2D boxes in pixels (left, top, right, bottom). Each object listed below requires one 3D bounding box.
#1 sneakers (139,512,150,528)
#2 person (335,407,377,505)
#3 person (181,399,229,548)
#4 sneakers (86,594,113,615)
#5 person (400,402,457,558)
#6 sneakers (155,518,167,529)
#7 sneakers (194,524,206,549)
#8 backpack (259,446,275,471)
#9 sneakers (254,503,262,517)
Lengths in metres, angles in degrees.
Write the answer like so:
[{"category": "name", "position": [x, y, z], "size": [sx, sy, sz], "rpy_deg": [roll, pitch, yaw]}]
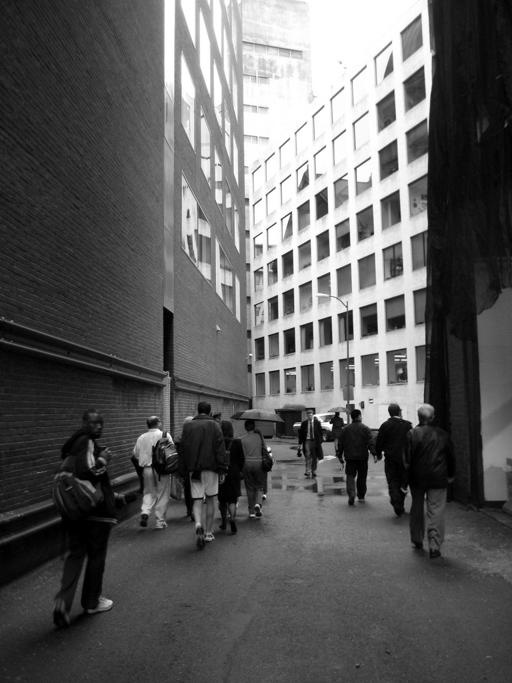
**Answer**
[{"category": "sneakers", "position": [-1.814, 2.948, 8.584], "size": [0.094, 0.204, 0.386], "rpy_deg": [3, -20, 2]}, {"category": "person", "position": [2.135, 2.431, 11.206], "size": [0.513, 2.168, 0.536], "rpy_deg": [-3, 10, 2]}, {"category": "person", "position": [-0.726, 1.818, 7.249], "size": [0.594, 1.926, 0.655], "rpy_deg": [4, -8, -36]}, {"category": "sneakers", "position": [-1.216, 2.079, 4.129], "size": [0.164, 0.165, 0.086], "rpy_deg": [-2, 10, -32]}, {"category": "person", "position": [2.084, 1.697, 6.496], "size": [0.787, 1.786, 0.639], "rpy_deg": [5, -9, -42]}, {"category": "sneakers", "position": [-1.555, 3.031, 8.707], "size": [0.082, 0.183, 0.324], "rpy_deg": [2, 1, 4]}, {"category": "sneakers", "position": [-0.703, 2.514, 6.697], "size": [0.085, 0.434, 0.135], "rpy_deg": [-1, -2, -16]}, {"category": "backpack", "position": [0.179, 2.139, 9.293], "size": [0.214, 0.713, 0.403], "rpy_deg": [-1, -13, 3]}, {"category": "sneakers", "position": [0.030, 3.142, 9.627], "size": [0.081, 0.338, 0.126], "rpy_deg": [-1, 31, 5]}]
